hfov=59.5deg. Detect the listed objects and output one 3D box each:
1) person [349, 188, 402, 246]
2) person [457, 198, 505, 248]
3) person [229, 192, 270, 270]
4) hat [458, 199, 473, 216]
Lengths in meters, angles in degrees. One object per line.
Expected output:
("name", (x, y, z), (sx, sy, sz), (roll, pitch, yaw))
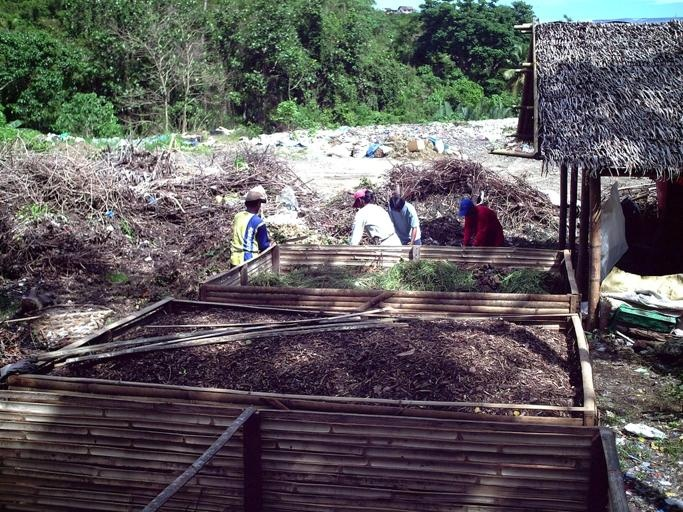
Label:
("person", (0.498, -0.525, 8.761), (0.640, 0.853, 0.862), (-1, 13, 12))
("person", (2.052, -0.470, 8.851), (0.586, 0.749, 0.761), (-10, 14, -24))
("person", (-1.246, -0.348, 8.068), (0.534, 1.024, 0.780), (-6, 13, -7))
("hat", (1.853, -0.754, 8.876), (0.180, 0.144, 0.270), (0, 45, 42))
